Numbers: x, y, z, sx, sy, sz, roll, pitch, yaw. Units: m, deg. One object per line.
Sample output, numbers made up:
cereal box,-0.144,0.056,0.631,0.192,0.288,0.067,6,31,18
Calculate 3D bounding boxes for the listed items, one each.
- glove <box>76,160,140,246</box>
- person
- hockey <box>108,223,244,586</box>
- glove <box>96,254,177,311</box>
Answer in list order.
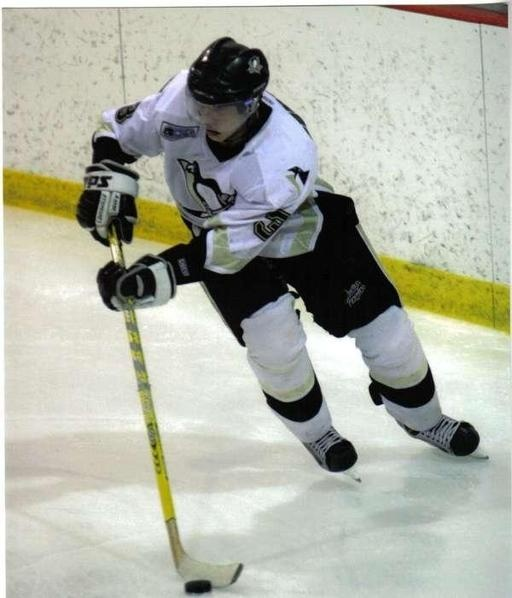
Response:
glove,-0.357,-0.241,1.729,0.171,0.180,0.154,10,9,14
person,0.050,-0.048,1.746,0.812,1.321,0.447,-13,39,11
hockey,-0.224,0.214,1.517,0.135,0.739,0.528,-17,14,-12
glove,-0.273,-0.049,1.509,0.195,0.068,0.124,-6,20,-1
